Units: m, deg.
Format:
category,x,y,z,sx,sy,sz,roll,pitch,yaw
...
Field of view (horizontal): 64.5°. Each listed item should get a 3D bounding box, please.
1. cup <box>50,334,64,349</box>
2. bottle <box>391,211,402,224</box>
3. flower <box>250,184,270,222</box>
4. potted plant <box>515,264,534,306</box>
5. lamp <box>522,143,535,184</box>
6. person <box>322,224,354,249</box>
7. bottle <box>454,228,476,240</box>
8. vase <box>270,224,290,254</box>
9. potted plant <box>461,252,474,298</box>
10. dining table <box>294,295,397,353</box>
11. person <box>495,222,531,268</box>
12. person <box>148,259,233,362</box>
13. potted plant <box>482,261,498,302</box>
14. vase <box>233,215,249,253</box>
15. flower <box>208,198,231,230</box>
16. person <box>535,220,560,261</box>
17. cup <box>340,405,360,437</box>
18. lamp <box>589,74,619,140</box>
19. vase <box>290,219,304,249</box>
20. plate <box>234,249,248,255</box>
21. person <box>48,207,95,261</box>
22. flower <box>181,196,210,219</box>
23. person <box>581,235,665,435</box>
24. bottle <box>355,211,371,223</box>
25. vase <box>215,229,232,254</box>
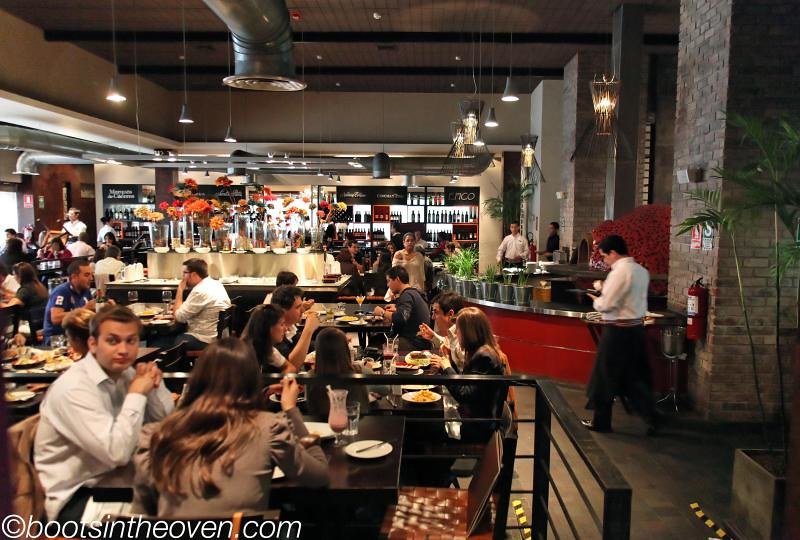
category,x,y,z,sx,sy,sz,roll,pitch,yaw
cup,-3.221,0.671,5.994,0.152,0.124,0.158,0,-6,0
bottle,-0.062,-1.486,17.744,0.311,0.330,0.377,-2,13,0
flower,-2.153,-1.069,9.840,0.333,0.545,0.482,-5,14,-11
potted plant,1.651,0.182,8.451,0.230,0.448,0.595,1,14,13
lamp,2.659,-2.169,12.994,0.228,0.860,1.283,0,13,12
person,-1.569,-0.847,16.207,0.948,0.879,0.495,-1,14,-5
bottle,1.833,-1.028,17.553,0.639,0.386,0.122,-2,14,1
vase,-1.825,-0.488,9.785,0.321,0.394,0.438,-5,14,-12
potted plant,0.997,0.039,9.273,0.263,0.559,0.738,-1,13,5
dining table,-0.542,0.589,7.415,0.719,0.416,0.707,0,3,2
person,2.221,-0.529,12.486,0.573,0.801,1.747,0,13,9
person,-2.401,0.584,7.595,0.879,1.426,0.635,3,14,-3
potted plant,1.263,0.131,8.879,0.189,0.443,0.713,-1,13,8
vase,-2.403,-0.573,9.710,0.249,0.529,0.176,-5,14,-9
flower,-2.726,-0.849,9.766,0.433,0.549,0.496,4,-2,-7
person,3.151,-0.594,13.302,0.410,0.784,1.178,0,13,12
cup,-0.299,0.967,4.081,0.170,0.179,0.167,0,-5,0
lamp,2.550,-2.056,7.912,0.307,0.751,0.502,2,14,18
vase,-1.570,-0.557,9.839,0.210,0.432,0.370,-4,14,-8
plate,-2.386,-0.284,9.689,0.221,0.056,0.076,1,14,14
person,-7.578,-0.683,14.868,0.619,1.592,0.636,-7,25,-20
flower,-3.016,-0.938,9.507,0.329,0.220,0.320,-1,8,-32
person,2.281,0.644,6.426,0.725,1.904,0.653,2,14,17
bottle,-1.002,-1.518,17.855,0.348,0.236,0.116,0,0,0
vase,-2.682,-0.459,9.739,0.225,0.324,0.134,-6,14,-15
